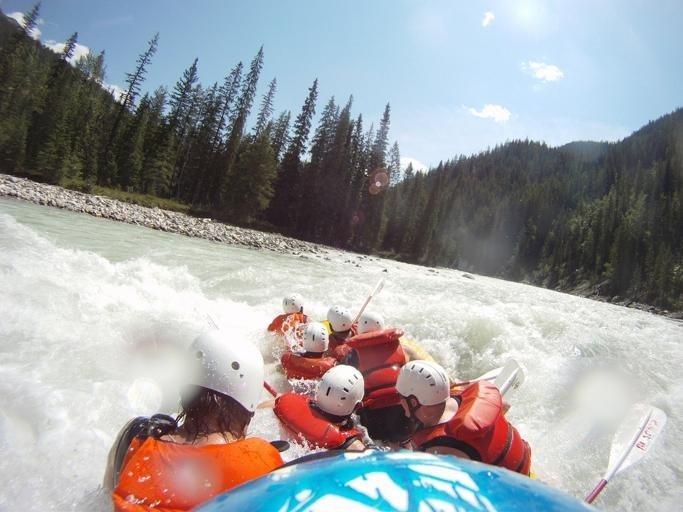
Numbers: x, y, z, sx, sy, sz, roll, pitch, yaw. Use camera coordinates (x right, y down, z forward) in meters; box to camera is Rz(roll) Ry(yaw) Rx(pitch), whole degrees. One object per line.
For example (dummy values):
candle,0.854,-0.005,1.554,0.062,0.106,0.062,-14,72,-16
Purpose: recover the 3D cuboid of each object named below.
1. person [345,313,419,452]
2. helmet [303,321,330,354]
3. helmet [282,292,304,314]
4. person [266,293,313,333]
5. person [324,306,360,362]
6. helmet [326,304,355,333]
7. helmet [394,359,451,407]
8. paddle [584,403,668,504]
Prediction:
person,0.667,1.997,7.103,0.949,1.742,0.982,-1,0,14
helmet,-0.461,1.429,7.877,0.336,0.511,0.516,4,4,2
helmet,-1.046,0.992,9.579,0.294,0.473,0.428,8,2,20
person,-1.125,1.214,9.322,0.570,0.962,0.899,10,-18,1
person,0.131,1.509,8.362,0.546,0.913,0.852,-12,33,-7
helmet,-0.031,1.217,8.826,0.345,0.525,0.518,-1,14,-6
helmet,1.042,1.571,5.624,0.418,0.558,0.612,2,20,-31
paddle,4.424,3.053,6.700,2.579,0.145,0.519,-38,27,-31
